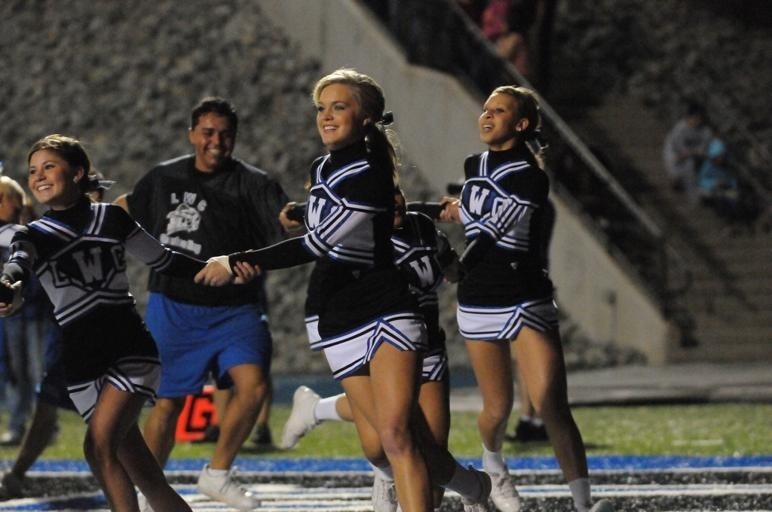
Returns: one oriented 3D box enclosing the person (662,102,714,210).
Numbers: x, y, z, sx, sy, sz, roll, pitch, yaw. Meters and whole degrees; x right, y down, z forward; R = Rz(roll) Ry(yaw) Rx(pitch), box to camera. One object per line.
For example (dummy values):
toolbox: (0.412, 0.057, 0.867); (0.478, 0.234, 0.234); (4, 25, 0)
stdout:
person: (4.791, -1.503, 26.527); (0.919, 0.684, 1.623); (-15, -38, 13)
